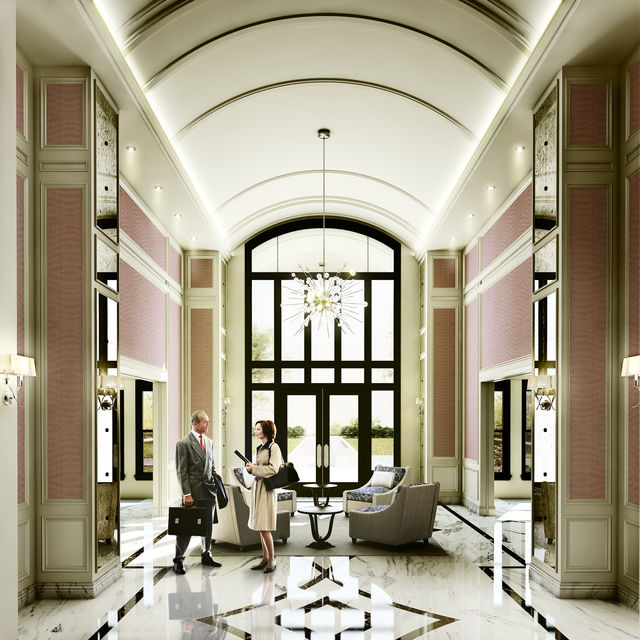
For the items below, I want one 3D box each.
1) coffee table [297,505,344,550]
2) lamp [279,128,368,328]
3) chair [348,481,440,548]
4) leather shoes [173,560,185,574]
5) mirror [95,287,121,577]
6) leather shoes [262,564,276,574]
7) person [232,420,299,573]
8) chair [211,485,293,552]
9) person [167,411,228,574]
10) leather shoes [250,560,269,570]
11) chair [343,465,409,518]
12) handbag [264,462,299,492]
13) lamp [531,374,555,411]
[{"bbox_3d":[0.005,2.530,7.641,0.483,0.471,0.551,1,-5,-15],"label":"coffee table"},{"bbox_3d":[0.101,-1.770,11.368,1.327,3.775,1.536,-3,-9,26],"label":"lamp"},{"bbox_3d":[0.924,2.375,7.611,1.106,0.754,0.621,0,-7,3],"label":"chair"},{"bbox_3d":[-1.430,2.510,6.382,0.136,0.177,0.093,1,0,-10],"label":"leather shoes"},{"bbox_3d":[-2.026,1.007,5.929,0.187,2.529,0.577,1,-6,-6],"label":"mirror"},{"bbox_3d":[-0.513,2.541,6.372,0.149,0.078,0.052,15,-27,-39],"label":"leather shoes"},{"bbox_3d":[-0.640,1.893,7.093,0.607,1.539,2.323,1,-7,-8],"label":"person"},{"bbox_3d":[-0.884,2.394,7.750,0.874,1.014,0.834,2,-5,-41],"label":"chair"},{"bbox_3d":[-1.223,1.758,6.376,0.506,1.637,0.746,2,-6,-14],"label":"person"},{"bbox_3d":[-0.622,2.542,6.464,0.193,0.107,0.067,4,-13,-14],"label":"leather shoes"},{"bbox_3d":[0.890,2.711,9.767,0.632,0.937,0.921,-3,-16,42],"label":"chair"},{"bbox_3d":[-0.387,1.580,6.282,0.348,0.279,0.209,0,-7,-1],"label":"handbag"},{"bbox_3d":[2.193,0.693,6.082,0.216,0.348,0.236,-3,-13,30],"label":"lamp"}]
